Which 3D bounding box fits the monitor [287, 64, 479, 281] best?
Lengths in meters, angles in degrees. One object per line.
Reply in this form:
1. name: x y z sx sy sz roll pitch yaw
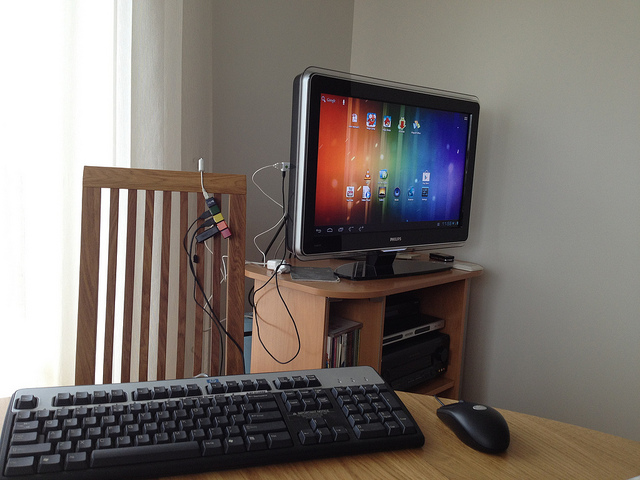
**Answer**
1. monitor: 0.260 -0.221 1.997 0.769 0.700 0.196 -3 10 -28
